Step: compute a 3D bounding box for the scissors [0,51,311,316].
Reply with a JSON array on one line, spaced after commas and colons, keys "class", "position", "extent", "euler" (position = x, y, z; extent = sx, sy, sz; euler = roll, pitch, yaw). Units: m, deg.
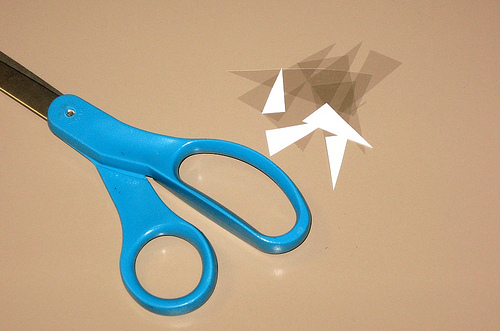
[{"class": "scissors", "position": [-0.203, 0.056, 1.054], "extent": [0.756, 0.305, 0.053], "euler": [37, -18, 13]}]
